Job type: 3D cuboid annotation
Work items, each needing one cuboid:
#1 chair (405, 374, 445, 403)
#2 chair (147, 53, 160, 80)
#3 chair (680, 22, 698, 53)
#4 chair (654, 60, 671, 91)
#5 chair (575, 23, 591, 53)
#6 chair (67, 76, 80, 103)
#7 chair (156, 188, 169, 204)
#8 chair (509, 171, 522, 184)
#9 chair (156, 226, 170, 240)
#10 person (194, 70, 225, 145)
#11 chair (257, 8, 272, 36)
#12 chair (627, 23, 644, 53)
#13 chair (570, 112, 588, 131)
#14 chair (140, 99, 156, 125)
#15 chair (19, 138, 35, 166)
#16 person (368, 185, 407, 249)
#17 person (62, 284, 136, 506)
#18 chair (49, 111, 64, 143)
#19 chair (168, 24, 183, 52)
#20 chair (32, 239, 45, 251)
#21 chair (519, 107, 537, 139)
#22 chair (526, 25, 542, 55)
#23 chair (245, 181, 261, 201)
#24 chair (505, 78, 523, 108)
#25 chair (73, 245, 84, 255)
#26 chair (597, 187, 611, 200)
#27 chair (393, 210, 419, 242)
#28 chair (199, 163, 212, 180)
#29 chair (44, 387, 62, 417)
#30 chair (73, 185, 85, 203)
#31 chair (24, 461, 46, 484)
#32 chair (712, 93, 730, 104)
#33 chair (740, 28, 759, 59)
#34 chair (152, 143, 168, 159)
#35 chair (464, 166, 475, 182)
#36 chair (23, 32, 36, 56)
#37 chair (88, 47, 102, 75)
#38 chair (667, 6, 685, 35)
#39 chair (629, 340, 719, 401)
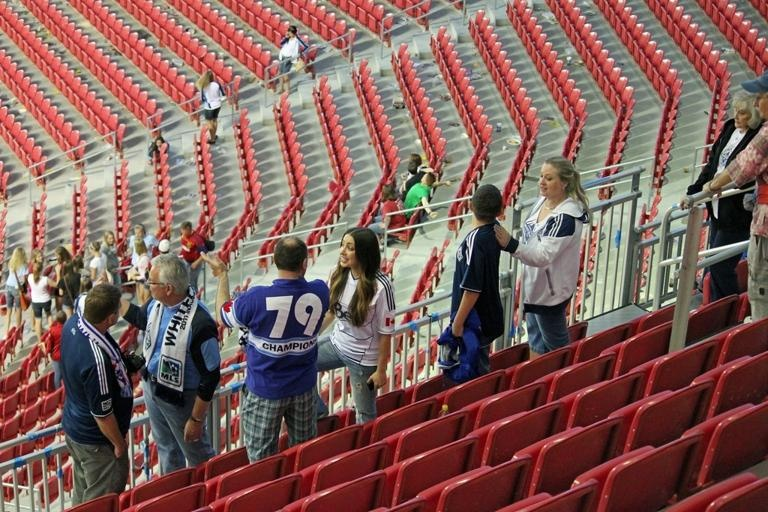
[{"bbox_3d":[0.490,1.533,18.599,0.286,0.503,0.358,-19,42,-24],"label":"chair"},{"bbox_3d":[-4.484,-3.659,30.564,0.162,0.394,0.312,-4,3,-31],"label":"chair"},{"bbox_3d":[5.299,-3.867,27.445,0.144,0.385,0.285,-3,-12,19],"label":"chair"},{"bbox_3d":[4.686,-3.055,26.362,0.182,0.540,0.171,-9,-29,25],"label":"chair"},{"bbox_3d":[3.525,-3.873,27.958,0.162,0.233,0.638,9,38,-17],"label":"chair"},{"bbox_3d":[-6.025,-3.271,30.620,0.154,0.403,0.307,-1,-9,-21],"label":"chair"},{"bbox_3d":[-3.750,-0.995,26.748,0.292,0.229,0.249,1,4,-5],"label":"chair"},{"bbox_3d":[1.989,-1.183,23.841,0.126,0.152,0.231,34,31,22],"label":"chair"},{"bbox_3d":[-3.602,-0.353,25.628,0.112,0.107,0.192,-22,-13,-12],"label":"chair"},{"bbox_3d":[-3.050,-2.636,28.005,0.477,1.086,1.289,-13,-4,-4],"label":"person"},{"bbox_3d":[-2.361,-4.567,30.808,0.350,0.352,0.457,-22,-38,-22],"label":"chair"},{"bbox_3d":[4.403,-3.809,27.592,0.203,0.225,0.617,-5,35,-1],"label":"chair"},{"bbox_3d":[3.095,-2.145,25.100,0.319,0.330,0.294,3,6,31],"label":"chair"},{"bbox_3d":[-4.396,-2.654,29.243,0.359,0.475,0.436,-5,34,-15],"label":"chair"},{"bbox_3d":[-6.633,-1.922,29.300,0.183,0.447,0.359,-3,-9,-14],"label":"chair"},{"bbox_3d":[0.057,-0.515,22.546,0.471,0.928,0.546,-32,40,-23],"label":"person"},{"bbox_3d":[-3.268,1.576,17.903,0.963,1.993,0.525,-13,-4,-6],"label":"person"},{"bbox_3d":[-6.204,-2.408,29.748,0.165,0.202,0.626,-15,40,-36],"label":"chair"},{"bbox_3d":[-4.138,-4.302,31.075,0.312,0.535,0.549,-6,8,-24],"label":"chair"},{"bbox_3d":[-5.804,-0.161,26.401,0.172,0.210,0.218,0,-11,1],"label":"chair"},{"bbox_3d":[2.356,-2.135,25.322,0.173,0.245,0.684,-9,37,24],"label":"chair"},{"bbox_3d":[2.668,-3.844,28.124,0.199,0.215,0.653,13,33,-8],"label":"chair"},{"bbox_3d":[-2.136,-1.038,25.549,0.235,0.323,0.253,14,34,29],"label":"chair"},{"bbox_3d":[2.166,-2.726,26.447,0.200,0.202,0.600,-11,39,0],"label":"chair"},{"bbox_3d":[-5.099,-0.078,26.238,0.148,0.236,0.156,2,3,29],"label":"chair"},{"bbox_3d":[3.209,-0.899,22.814,0.170,0.210,0.549,1,-4,5],"label":"chair"},{"bbox_3d":[0.289,-0.413,23.159,0.254,0.348,0.286,18,45,18],"label":"chair"},{"bbox_3d":[-3.055,-1.426,26.899,0.253,0.190,0.246,-19,-14,29],"label":"chair"},{"bbox_3d":[-4.567,2.050,21.661,0.266,0.291,0.390,-11,-5,-29],"label":"chair"},{"bbox_3d":[-5.349,-1.059,27.533,0.311,0.354,0.281,-2,4,-10],"label":"chair"},{"bbox_3d":[-4.490,2.810,20.154,0.245,0.237,1.629,-12,-4,-14],"label":"chair"},{"bbox_3d":[5.428,-2.526,25.405,0.198,0.107,0.307,6,23,24],"label":"chair"},{"bbox_3d":[6.258,-3.682,26.795,0.169,0.550,0.221,-3,-38,19],"label":"chair"},{"bbox_3d":[-4.028,-1.887,27.822,0.337,0.319,0.251,4,12,34],"label":"chair"},{"bbox_3d":[1.283,-1.234,24.128,0.123,0.180,0.218,-15,-5,21],"label":"chair"},{"bbox_3d":[-7.266,-4.357,32.244,0.176,0.468,0.361,2,-28,-31],"label":"chair"},{"bbox_3d":[-5.727,-3.814,31.149,0.254,0.665,0.194,-9,-7,15],"label":"chair"},{"bbox_3d":[5.181,-4.268,28.040,0.138,0.366,0.274,10,5,35],"label":"chair"},{"bbox_3d":[3.330,1.229,18.078,0.651,1.022,0.720,-21,40,-13],"label":"chair"}]
